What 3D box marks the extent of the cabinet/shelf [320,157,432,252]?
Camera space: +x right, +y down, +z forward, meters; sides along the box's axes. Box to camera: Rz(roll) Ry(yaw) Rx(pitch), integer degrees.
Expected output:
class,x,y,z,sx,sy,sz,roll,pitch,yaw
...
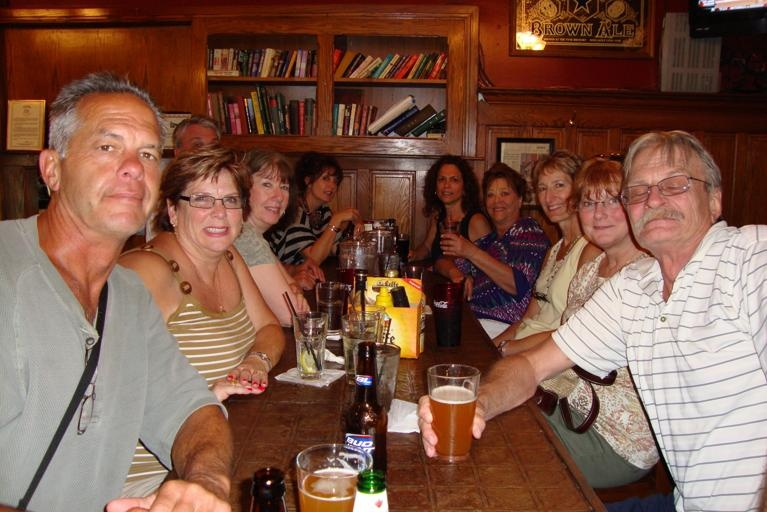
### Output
class,x,y,z,sx,sy,sz,roll,pitch,yaw
cabinet/shelf,-0.057,-0.500,5.110,0.933,0.944,0.343,3,13,-1

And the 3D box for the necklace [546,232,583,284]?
class,x,y,z,sx,sy,sz,roll,pitch,yaw
necklace,1.051,0.013,3.246,0.134,0.222,0.053,20,41,15

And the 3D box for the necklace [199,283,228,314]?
class,x,y,z,sx,sy,sz,roll,pitch,yaw
necklace,-0.682,0.175,2.250,0.027,0.105,0.110,-29,-19,24

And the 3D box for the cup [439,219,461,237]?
class,x,y,z,sx,sy,sz,roll,pitch,yaw
cup,0.501,-0.190,4.053,0.155,0.163,0.159,0,0,0

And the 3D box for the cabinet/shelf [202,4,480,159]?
class,x,y,z,sx,sy,sz,roll,pitch,yaw
cabinet/shelf,-0.356,-1.640,5.403,2.486,1.407,0.641,0,9,9

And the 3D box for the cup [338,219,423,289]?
class,x,y,z,sx,sy,sz,roll,pitch,yaw
cup,-0.073,-0.023,3.517,0.300,0.480,0.489,-2,6,-16
